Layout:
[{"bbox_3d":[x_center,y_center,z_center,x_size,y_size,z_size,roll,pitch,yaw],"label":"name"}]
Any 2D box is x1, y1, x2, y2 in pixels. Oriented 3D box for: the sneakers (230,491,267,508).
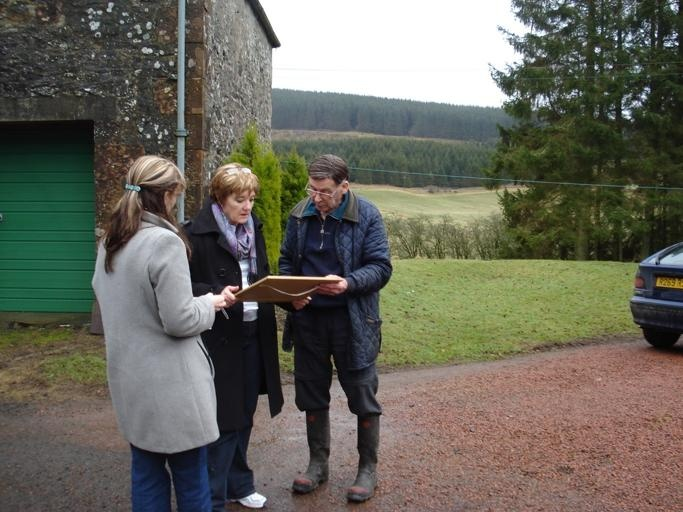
[{"bbox_3d":[-0.815,2.141,5.241,0.281,0.131,0.117,-4,8,9],"label":"sneakers"}]
